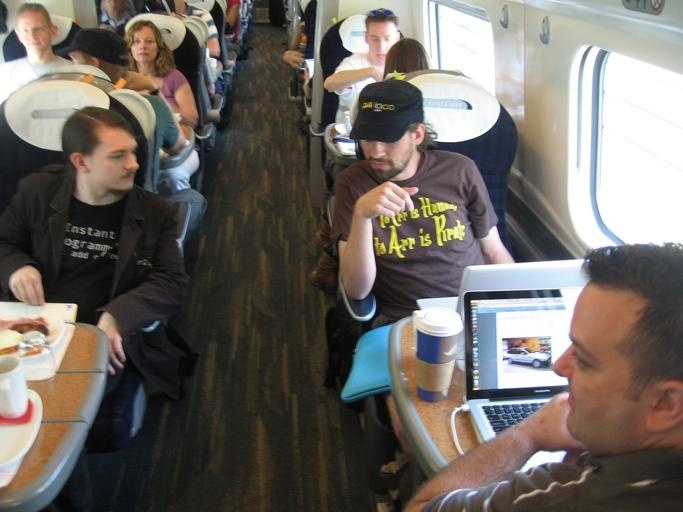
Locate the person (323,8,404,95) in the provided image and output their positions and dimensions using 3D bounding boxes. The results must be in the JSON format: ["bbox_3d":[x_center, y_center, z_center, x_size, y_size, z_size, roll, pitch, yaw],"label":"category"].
[{"bbox_3d":[0.219,-1.446,4.228,0.504,0.638,0.719,2,12,7],"label":"person"}]

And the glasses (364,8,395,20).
[{"bbox_3d":[0.275,-1.758,4.103,0.191,0.065,0.268,0,23,-9],"label":"glasses"}]

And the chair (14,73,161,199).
[{"bbox_3d":[-1.143,-0.587,2.528,0.664,0.333,0.531,0,-5,44],"label":"chair"}]

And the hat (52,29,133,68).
[{"bbox_3d":[-1.634,-1.373,3.761,0.352,0.171,0.229,9,18,-26],"label":"hat"}]

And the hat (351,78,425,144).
[{"bbox_3d":[0.208,-0.662,2.491,0.304,0.196,0.414,6,31,13],"label":"hat"}]

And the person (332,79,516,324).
[{"bbox_3d":[0.358,-0.224,2.414,0.715,0.927,0.714,-14,38,7],"label":"person"}]

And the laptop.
[{"bbox_3d":[0.513,0.349,1.792,0.417,0.329,0.448,-4,38,0],"label":"laptop"}]
